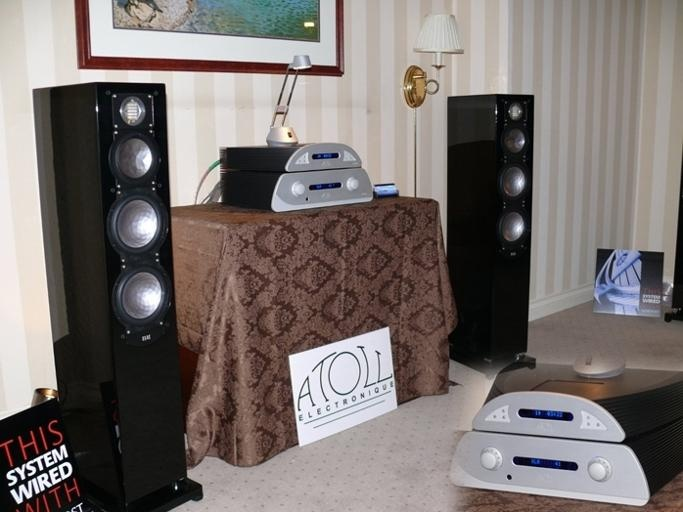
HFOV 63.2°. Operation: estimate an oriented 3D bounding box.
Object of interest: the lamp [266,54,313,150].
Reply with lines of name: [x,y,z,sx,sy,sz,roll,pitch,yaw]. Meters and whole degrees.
lamp: [-0.227,-0.675,2.431,0.198,0.365,0.588,-2,13,-3]
